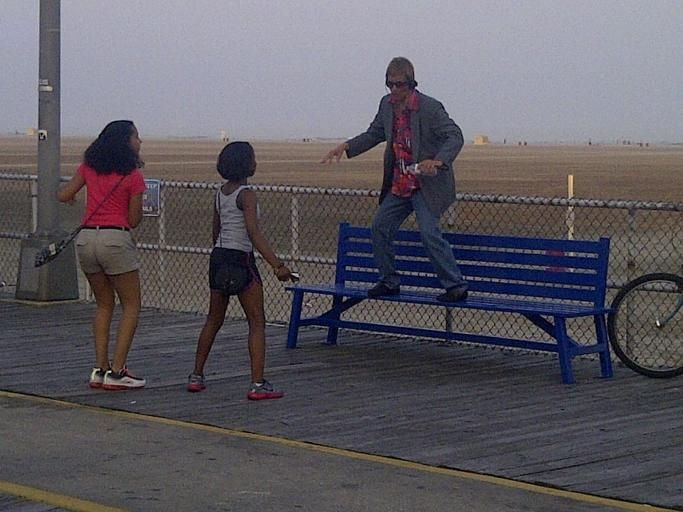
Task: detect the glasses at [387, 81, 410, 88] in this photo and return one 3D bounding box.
[{"bbox_3d":[0.513,-1.536,7.782,0.229,0.058,0.148,2,5,12],"label":"glasses"}]

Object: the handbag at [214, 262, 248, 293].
[{"bbox_3d":[-0.791,0.160,6.325,0.207,0.213,0.093,19,11,16],"label":"handbag"}]

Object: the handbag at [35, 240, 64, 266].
[{"bbox_3d":[-2.918,-0.044,8.692,0.352,0.249,0.108,-26,-37,37],"label":"handbag"}]

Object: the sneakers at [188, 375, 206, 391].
[{"bbox_3d":[-1.124,0.979,6.774,0.073,0.083,0.183,1,4,3],"label":"sneakers"}]

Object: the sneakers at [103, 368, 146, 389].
[{"bbox_3d":[-1.700,0.967,6.883,0.345,0.188,0.128,1,1,-18],"label":"sneakers"}]

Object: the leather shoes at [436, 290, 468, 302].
[{"bbox_3d":[0.990,0.348,7.715,0.258,0.120,0.111,0,4,-7],"label":"leather shoes"}]

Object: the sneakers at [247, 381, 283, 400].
[{"bbox_3d":[-0.576,1.021,6.619,0.268,0.142,0.116,-1,5,-32],"label":"sneakers"}]

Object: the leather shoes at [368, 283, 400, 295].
[{"bbox_3d":[0.402,0.316,8.182,0.302,0.138,0.113,4,0,-20],"label":"leather shoes"}]

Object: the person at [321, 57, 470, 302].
[{"bbox_3d":[0.618,-0.679,7.802,1.121,2.176,1.161,1,4,-1],"label":"person"}]

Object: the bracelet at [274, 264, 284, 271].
[{"bbox_3d":[-0.445,0.078,6.346,0.023,0.028,0.089,-15,4,13],"label":"bracelet"}]

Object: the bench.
[{"bbox_3d":[0.854,0.398,7.995,2.935,1.299,0.874,3,-1,38],"label":"bench"}]

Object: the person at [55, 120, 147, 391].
[{"bbox_3d":[-1.790,-0.002,6.741,0.591,2.088,0.371,0,4,-4],"label":"person"}]

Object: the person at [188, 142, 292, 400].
[{"bbox_3d":[-0.754,0.112,6.501,0.810,1.925,0.400,2,4,15],"label":"person"}]
